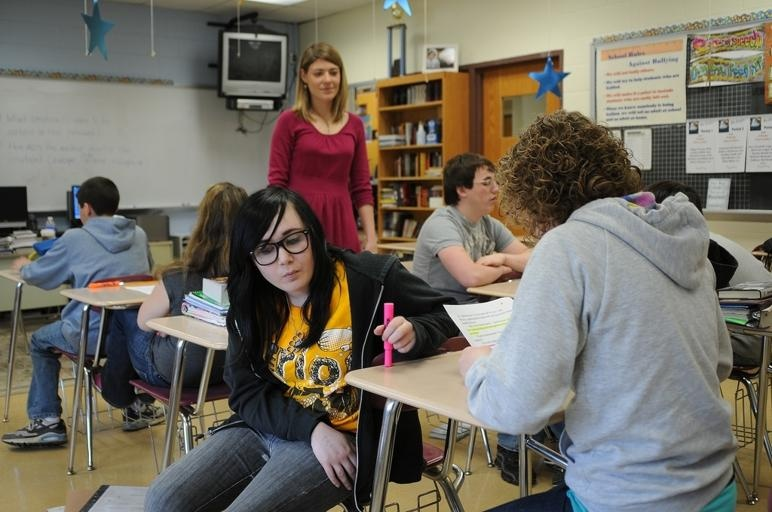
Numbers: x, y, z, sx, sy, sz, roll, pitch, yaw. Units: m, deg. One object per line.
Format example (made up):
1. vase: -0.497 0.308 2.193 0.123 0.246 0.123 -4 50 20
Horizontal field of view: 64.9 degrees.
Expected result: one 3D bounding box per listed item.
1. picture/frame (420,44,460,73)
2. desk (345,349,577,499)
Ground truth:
1. picture/frame: 0.616 -2.257 6.886 0.415 0.299 0.032 1 7 16
2. desk: 0.226 0.334 1.885 0.471 0.427 0.583 5 6 44
